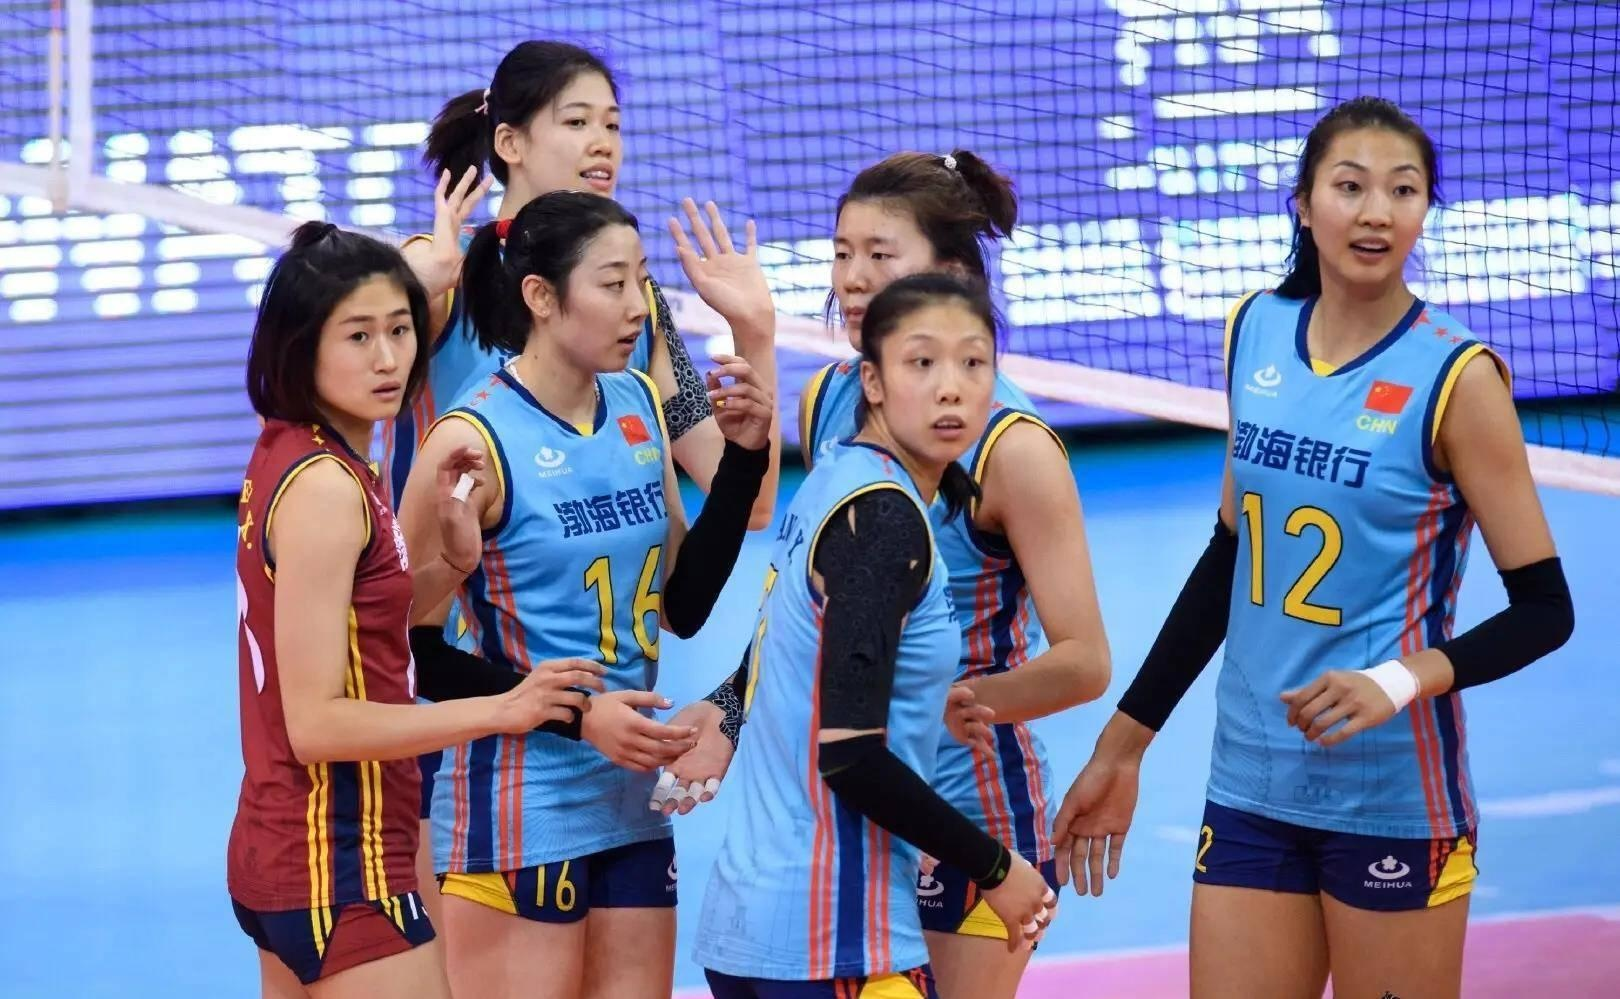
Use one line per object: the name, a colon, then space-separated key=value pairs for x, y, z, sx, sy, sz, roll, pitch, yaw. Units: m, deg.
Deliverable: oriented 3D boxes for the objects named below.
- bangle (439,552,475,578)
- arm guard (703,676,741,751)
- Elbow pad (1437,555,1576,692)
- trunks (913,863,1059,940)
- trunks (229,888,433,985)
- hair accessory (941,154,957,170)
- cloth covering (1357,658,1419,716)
bangle: x=-0.966 y=0.180 z=4.816 sx=0.089 sy=0.026 sz=0.065 roll=34 pitch=-9 yaw=-10
arm guard: x=-0.245 y=0.592 z=5.004 sx=0.075 sy=0.219 sz=0.096 roll=9 pitch=-36 yaw=-18
Elbow pad: x=1.904 y=0.337 z=4.859 sx=0.370 sy=0.347 sz=0.105 roll=-4 pitch=2 yaw=-11
trunks: x=0.447 y=1.050 z=4.649 sx=0.230 sy=0.191 sz=0.174 roll=33 pitch=14 yaw=-23
trunks: x=-1.244 y=1.154 z=4.781 sx=0.433 sy=0.205 sz=0.637 roll=-5 pitch=-12 yaw=-37
hair accessory: x=0.392 y=-0.949 z=5.060 sx=0.048 sy=0.053 sz=0.020 roll=2 pitch=-38 yaw=-8
cloth covering: x=1.570 y=0.499 z=4.798 sx=0.162 sy=0.126 sz=0.070 roll=-4 pitch=2 yaw=-18
